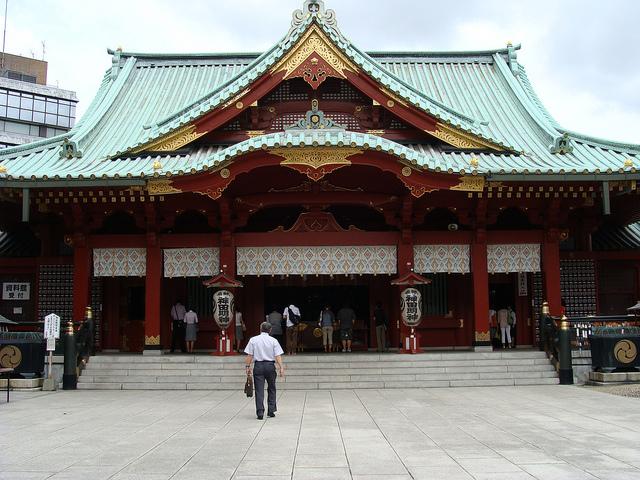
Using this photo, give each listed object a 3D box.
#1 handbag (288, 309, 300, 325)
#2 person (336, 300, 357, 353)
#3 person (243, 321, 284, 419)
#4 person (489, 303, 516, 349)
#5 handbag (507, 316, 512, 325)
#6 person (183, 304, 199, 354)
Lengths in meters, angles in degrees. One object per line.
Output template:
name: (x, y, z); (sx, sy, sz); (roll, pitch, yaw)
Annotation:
handbag: (-0.868, 2.506, 23.711); (0.350, 0.649, 0.340); (0, -1, 3)
person: (0.866, 2.964, 24.111); (0.524, 1.622, 1.502); (0, -1, 1)
person: (-1.217, 2.872, 15.890); (0.795, 2.085, 0.983); (0, -1, -5)
person: (6.391, 3.063, 25.368); (0.994, 1.502, 1.150); (-1, -2, 38)
handbag: (6.671, 2.783, 25.187); (0.207, 0.337, 0.138); (0, -1, -2)
person: (-4.330, 3.040, 24.273); (0.436, 1.522, 1.159); (0, -1, -10)
